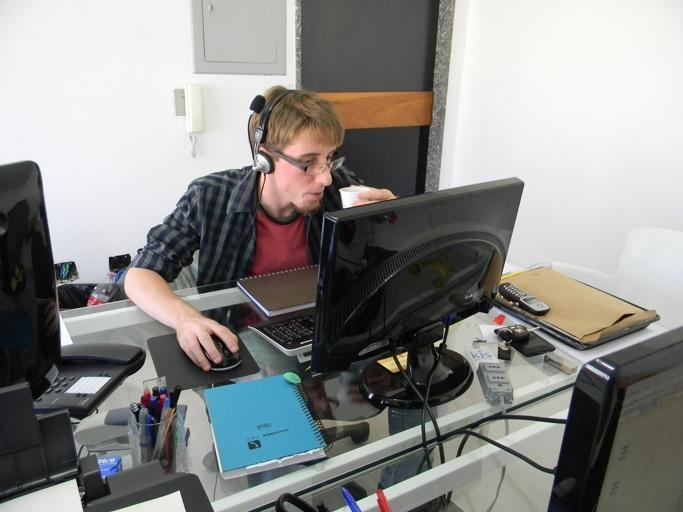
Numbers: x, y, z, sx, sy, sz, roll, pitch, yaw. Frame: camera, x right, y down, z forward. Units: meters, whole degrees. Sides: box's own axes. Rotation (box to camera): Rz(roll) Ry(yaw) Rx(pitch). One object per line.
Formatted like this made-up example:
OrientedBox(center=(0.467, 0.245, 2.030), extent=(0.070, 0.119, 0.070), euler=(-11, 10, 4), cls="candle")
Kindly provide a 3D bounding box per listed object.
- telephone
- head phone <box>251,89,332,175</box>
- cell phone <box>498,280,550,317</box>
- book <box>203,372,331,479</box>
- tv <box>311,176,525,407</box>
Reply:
OrientedBox(center=(-0.574, 0.272, 1.123), extent=(0.191, 0.045, 0.179), euler=(-1, 29, 21), cls="telephone")
OrientedBox(center=(-0.188, -0.445, 1.744), extent=(0.322, 0.302, 0.211), euler=(0, 17, 2), cls="head phone")
OrientedBox(center=(0.552, 0.117, 1.498), extent=(0.063, 0.032, 0.136), euler=(-16, 33, -28), cls="cell phone")
OrientedBox(center=(-0.173, 0.335, 1.018), extent=(0.172, 0.053, 0.175), euler=(-5, 35, -18), cls="book")
OrientedBox(center=(0.190, 0.104, 1.146), extent=(0.601, 0.452, 0.050), euler=(-13, 27, -32), cls="tv")
